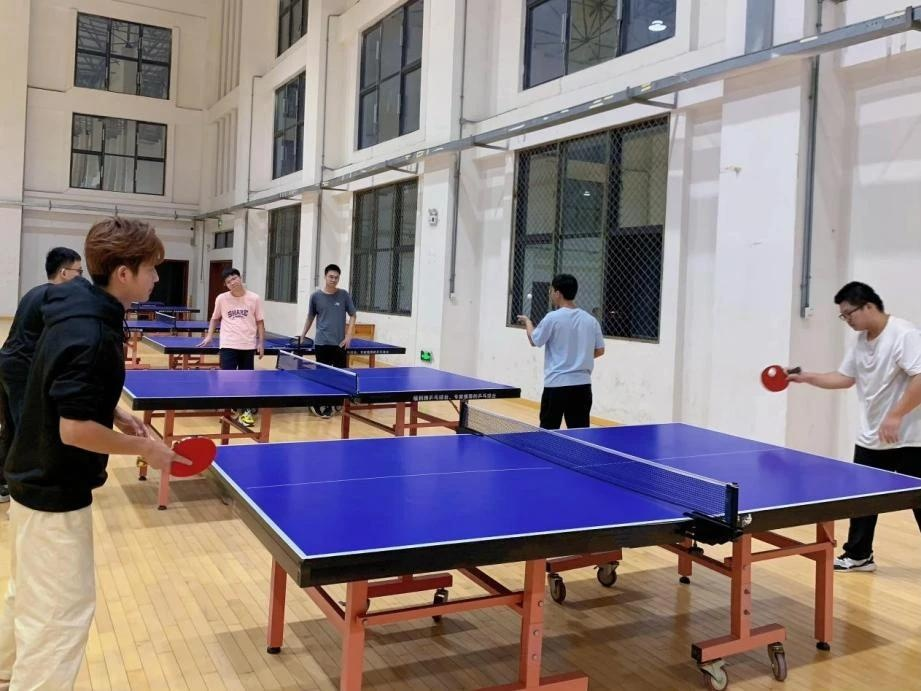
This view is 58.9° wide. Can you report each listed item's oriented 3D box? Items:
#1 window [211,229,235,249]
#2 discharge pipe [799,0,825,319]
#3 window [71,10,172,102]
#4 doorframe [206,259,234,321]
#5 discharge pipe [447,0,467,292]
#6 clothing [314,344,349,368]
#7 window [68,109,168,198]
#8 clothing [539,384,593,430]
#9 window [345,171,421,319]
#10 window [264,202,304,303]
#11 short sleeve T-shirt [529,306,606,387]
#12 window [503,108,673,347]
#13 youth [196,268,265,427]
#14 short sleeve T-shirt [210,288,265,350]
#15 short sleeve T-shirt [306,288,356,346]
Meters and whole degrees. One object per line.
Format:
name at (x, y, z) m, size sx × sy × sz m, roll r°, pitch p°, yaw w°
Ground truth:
window at (-5.768, -2.573, 19.724) m, size 0.213 × 0.442 × 1.372 m, roll -1°, pitch 7°, yaw -27°
discharge pipe at (2.714, -1.224, 6.303) m, size 0.113 × 2.007 × 0.160 m, roll 3°, pitch 6°, yaw 10°
window at (-8.162, -6.907, 19.331) m, size 2.298 × 2.107 × 0.262 m, roll -2°, pitch 8°, yaw -36°
doorframe at (-6.053, -1.720, 20.480) m, size 0.524 × 1.158 × 0.576 m, roll -4°, pitch 27°, yaw -24°
discharge pipe at (-0.025, -2.470, 10.294) m, size 0.216 × 3.716 × 0.179 m, roll 0°, pitch 6°, yaw -18°
clothing at (-1.292, 0.098, 8.168) m, size 0.211 × 0.319 × 0.111 m, roll -1°, pitch 6°, yaw -35°
window at (-8.272, -4.614, 19.405) m, size 2.183 × 1.763 × 0.222 m, roll -1°, pitch 3°, yaw -37°
clothing at (0.745, 0.422, 5.700) m, size 0.328 × 0.472 × 0.163 m, roll 0°, pitch 7°, yaw -3°
window at (-1.126, -1.542, 12.362) m, size 0.161 × 2.556 × 2.372 m, roll 0°, pitch 2°, yaw -30°
window at (-3.448, -1.878, 16.039) m, size 0.065 × 2.144 × 1.984 m, roll 1°, pitch 1°, yaw -27°
short sleeve T-shirt at (0.753, 0.011, 5.750) m, size 0.490 × 0.561 × 0.235 m, roll 3°, pitch 6°, yaw 11°
window at (1.380, -1.252, 8.312) m, size 0.157 × 2.458 × 2.637 m, roll 2°, pitch -2°, yaw -33°
youth at (-2.095, -0.001, 7.608) m, size 0.568 × 1.454 × 0.421 m, roll -5°, pitch 6°, yaw -42°
short sleeve T-shirt at (-2.095, -0.234, 7.662) m, size 0.428 × 0.558 × 0.299 m, roll 0°, pitch 6°, yaw -17°
short sleeve T-shirt at (-1.338, -0.332, 8.481) m, size 0.459 × 0.613 × 0.212 m, roll 1°, pitch 23°, yaw -8°
